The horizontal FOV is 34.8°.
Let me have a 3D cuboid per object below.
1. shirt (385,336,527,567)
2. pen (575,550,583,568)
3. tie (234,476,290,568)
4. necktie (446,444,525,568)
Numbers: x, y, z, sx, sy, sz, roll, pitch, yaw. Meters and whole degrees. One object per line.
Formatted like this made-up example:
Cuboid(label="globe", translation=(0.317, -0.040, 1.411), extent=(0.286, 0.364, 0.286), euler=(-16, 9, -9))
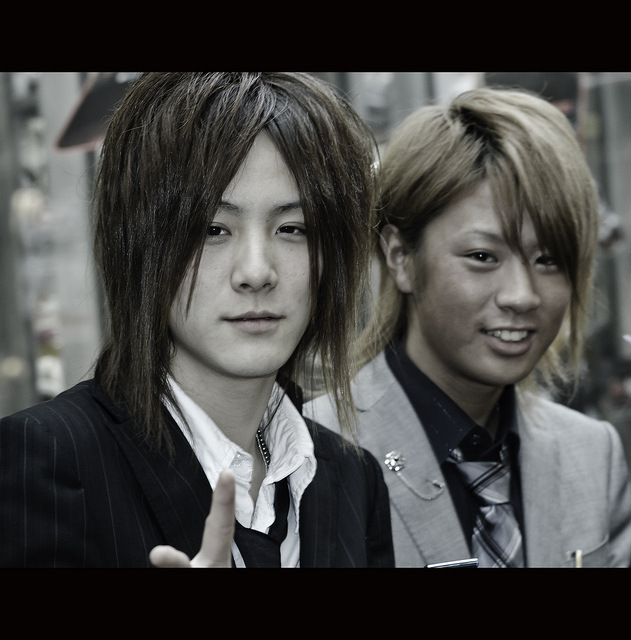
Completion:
Cuboid(label="shirt", translation=(0.449, 0.323, 3.008), extent=(0.404, 0.716, 0.175), euler=(-11, 2, 4))
Cuboid(label="pen", translation=(0.825, 0.748, 3.148), extent=(0.030, 0.055, 0.006), euler=(-6, 6, -11))
Cuboid(label="tie", translation=(-0.154, 0.677, 3.043), extent=(0.158, 0.116, 0.092), euler=(25, -15, -2))
Cuboid(label="necktie", translation=(0.566, 0.597, 3.143), extent=(0.258, 0.524, 0.062), euler=(-10, 29, 7))
